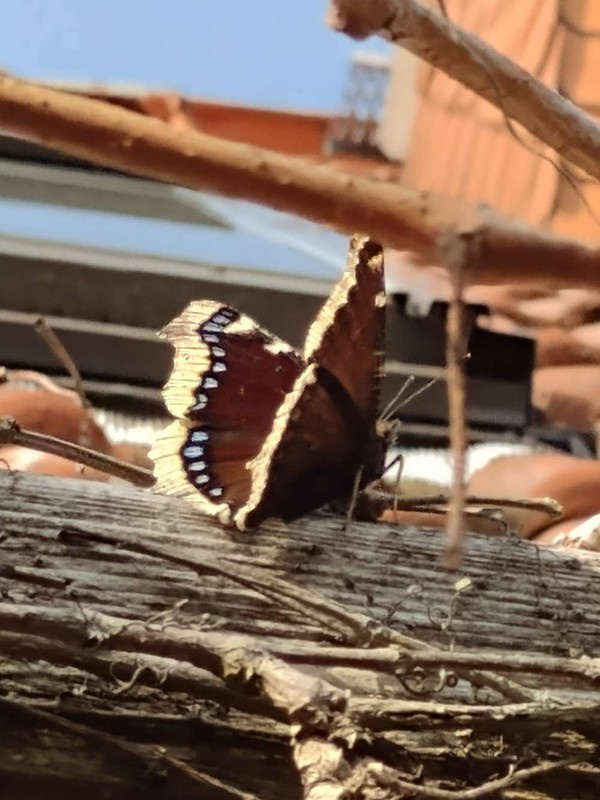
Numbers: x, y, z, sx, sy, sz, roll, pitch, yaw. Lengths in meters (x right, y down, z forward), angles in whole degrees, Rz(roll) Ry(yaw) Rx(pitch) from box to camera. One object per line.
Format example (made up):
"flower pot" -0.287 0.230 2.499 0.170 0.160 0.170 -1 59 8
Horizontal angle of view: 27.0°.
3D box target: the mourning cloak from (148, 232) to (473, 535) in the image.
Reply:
"mourning cloak" -0.013 0.003 1.061 0.287 0.164 0.270 -9 -8 17
